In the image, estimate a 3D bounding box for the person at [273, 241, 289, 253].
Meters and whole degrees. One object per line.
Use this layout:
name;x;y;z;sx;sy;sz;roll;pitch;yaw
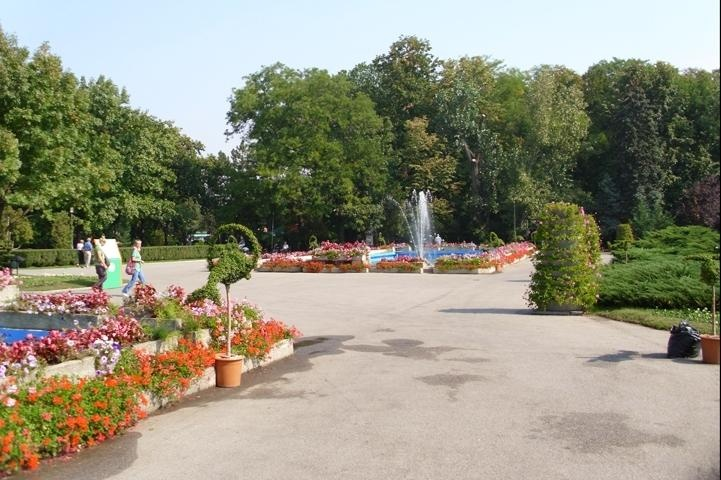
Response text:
person;-8.119;0.673;57.234;1.198;0.985;2.949;-5;-6;-6

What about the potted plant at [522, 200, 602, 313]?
potted plant;6.898;0.534;18.698;2.907;3.570;1.604;-5;6;-34
